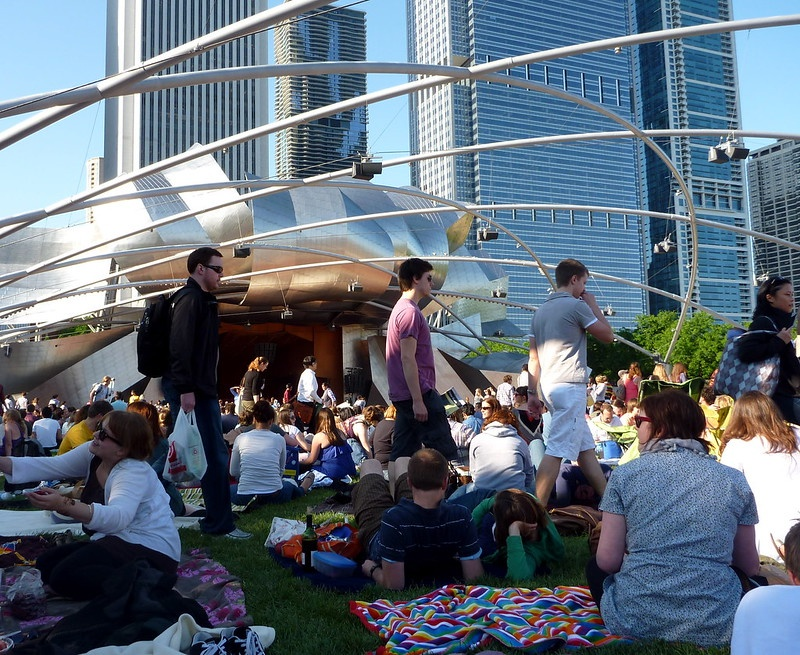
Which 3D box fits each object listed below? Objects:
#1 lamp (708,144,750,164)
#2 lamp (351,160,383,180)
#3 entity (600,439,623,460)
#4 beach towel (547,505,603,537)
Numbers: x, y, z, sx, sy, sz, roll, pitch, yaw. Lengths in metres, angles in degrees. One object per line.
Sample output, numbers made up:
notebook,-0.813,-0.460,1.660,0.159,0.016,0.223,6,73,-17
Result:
lamp,8.785,-4.678,19.986,0.657,0.433,0.893,2,0,-35
lamp,-0.826,-3.856,18.115,0.662,0.377,0.941,-1,-2,-27
entity,4.110,2.406,14.460,0.432,0.364,0.375,0,-11,-6
beach towel,1.944,2.080,8.088,0.408,0.150,0.512,2,-5,-28
